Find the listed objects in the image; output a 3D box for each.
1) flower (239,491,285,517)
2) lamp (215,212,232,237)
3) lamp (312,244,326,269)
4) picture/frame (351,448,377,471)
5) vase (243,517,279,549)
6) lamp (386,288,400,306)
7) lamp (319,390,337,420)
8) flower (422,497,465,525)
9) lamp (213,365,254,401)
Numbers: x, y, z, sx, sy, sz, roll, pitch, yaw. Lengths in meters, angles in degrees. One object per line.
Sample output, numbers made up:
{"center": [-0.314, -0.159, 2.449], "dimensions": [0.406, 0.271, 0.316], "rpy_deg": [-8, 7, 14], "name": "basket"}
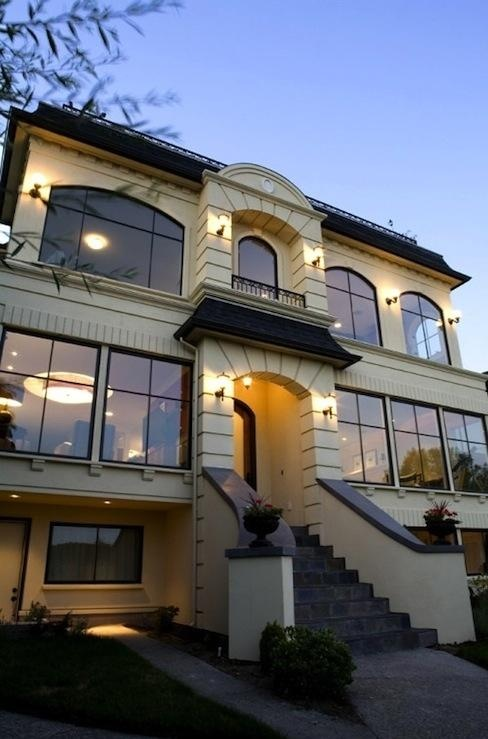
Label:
{"center": [0.199, 2.002, 7.380], "dimensions": [0.481, 0.275, 0.574], "rpy_deg": [10, -23, -18], "name": "flower"}
{"center": [-0.459, -3.349, 11.802], "dimensions": [0.168, 0.764, 0.452], "rpy_deg": [-14, -24, 35], "name": "lamp"}
{"center": [1.897, -2.916, 13.198], "dimensions": [0.438, 0.681, 0.144], "rpy_deg": [18, -26, -41], "name": "lamp"}
{"center": [2.849, 2.173, 12.325], "dimensions": [0.559, 0.413, 0.027], "rpy_deg": [8, -20, -27], "name": "picture/frame"}
{"center": [0.237, 2.264, 7.129], "dimensions": [0.434, 0.346, 0.416], "rpy_deg": [0, -31, 0], "name": "vase"}
{"center": [4.356, -2.090, 14.942], "dimensions": [0.395, 0.550, 0.362], "rpy_deg": [14, -19, -39], "name": "lamp"}
{"center": [1.901, 0.813, 11.741], "dimensions": [0.451, 0.706, 0.215], "rpy_deg": [19, -30, -23], "name": "lamp"}
{"center": [4.546, 3.252, 11.799], "dimensions": [0.931, 0.682, 0.954], "rpy_deg": [3, -21, 2], "name": "flower"}
{"center": [-0.256, 0.268, 10.974], "dimensions": [0.793, 0.573, 0.280], "rpy_deg": [14, -30, -41], "name": "lamp"}
